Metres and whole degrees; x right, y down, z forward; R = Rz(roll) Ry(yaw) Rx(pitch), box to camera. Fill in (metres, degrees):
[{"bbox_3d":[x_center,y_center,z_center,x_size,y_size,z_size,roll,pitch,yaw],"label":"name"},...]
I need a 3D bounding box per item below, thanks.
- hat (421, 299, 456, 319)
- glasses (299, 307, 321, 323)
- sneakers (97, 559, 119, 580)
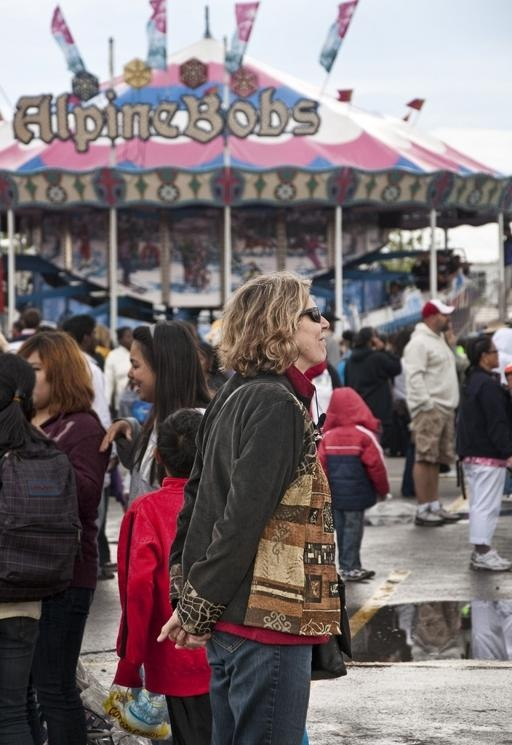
[{"bbox_3d":[1.550,-0.545,10.464,0.248,0.137,0.150,-9,16,0],"label":"hat"},{"bbox_3d":[0.173,-0.183,3.881,0.059,0.028,0.050,-2,-4,2],"label":"glasses"},{"bbox_3d":[-1.051,1.364,8.662,0.097,0.132,0.283,0,4,4],"label":"sneakers"}]
